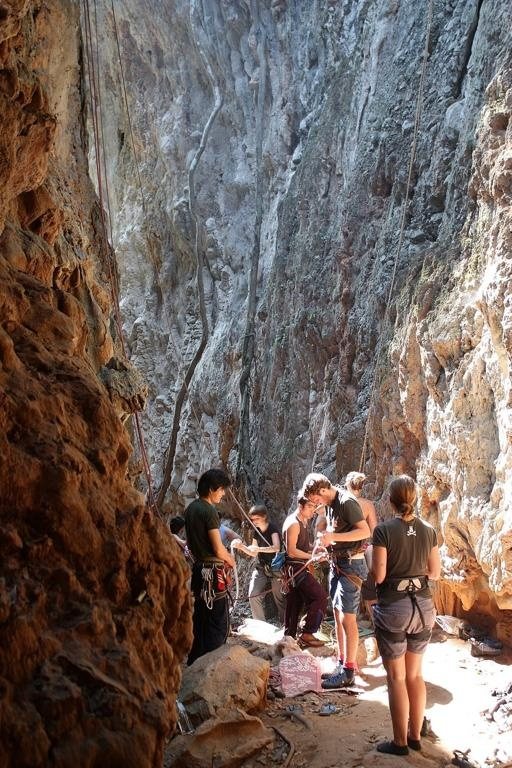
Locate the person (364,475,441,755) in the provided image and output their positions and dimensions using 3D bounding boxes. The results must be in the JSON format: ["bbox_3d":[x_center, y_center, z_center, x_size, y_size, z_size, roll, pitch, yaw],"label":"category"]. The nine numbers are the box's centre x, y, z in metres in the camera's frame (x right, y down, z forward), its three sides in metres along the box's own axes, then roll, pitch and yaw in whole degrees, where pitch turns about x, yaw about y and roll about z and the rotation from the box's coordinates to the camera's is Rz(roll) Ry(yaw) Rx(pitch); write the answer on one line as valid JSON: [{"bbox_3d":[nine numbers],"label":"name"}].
[{"bbox_3d":[0.736,1.164,3.181,0.378,1.391,0.240,3,-4,-35],"label":"person"}]

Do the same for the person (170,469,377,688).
[{"bbox_3d":[0.146,1.326,4.451,1.179,1.459,1.035,0,-4,1],"label":"person"}]

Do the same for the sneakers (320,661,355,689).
[{"bbox_3d":[0.552,1.993,4.310,0.275,0.207,0.103,3,-9,7],"label":"sneakers"}]
